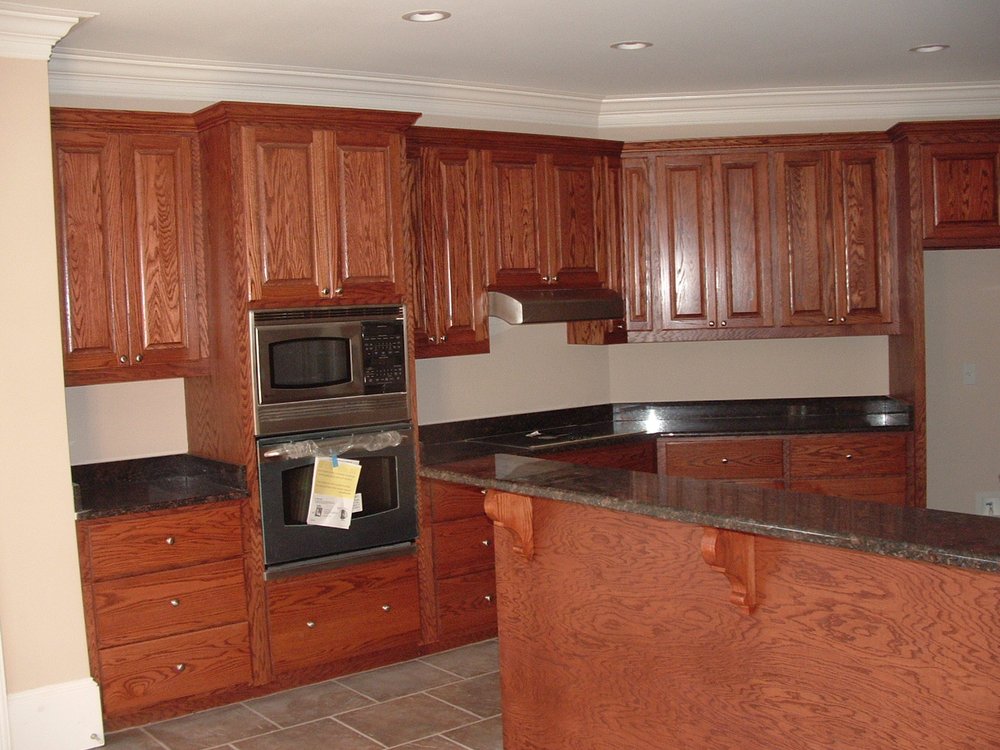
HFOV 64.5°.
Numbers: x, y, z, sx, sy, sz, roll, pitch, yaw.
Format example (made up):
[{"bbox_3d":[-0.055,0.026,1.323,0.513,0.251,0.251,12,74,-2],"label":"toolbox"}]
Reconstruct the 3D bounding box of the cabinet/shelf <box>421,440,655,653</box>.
[{"bbox_3d":[0.136,0.911,4.727,1.523,1.058,0.606,-6,6,-34],"label":"cabinet/shelf"}]

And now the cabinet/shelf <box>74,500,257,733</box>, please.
[{"bbox_3d":[-1.303,1.154,3.888,0.965,0.937,0.910,-28,-29,33],"label":"cabinet/shelf"}]

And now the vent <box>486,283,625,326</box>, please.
[{"bbox_3d":[0.344,-0.417,4.640,0.786,0.207,0.324,-5,5,-35],"label":"vent"}]
